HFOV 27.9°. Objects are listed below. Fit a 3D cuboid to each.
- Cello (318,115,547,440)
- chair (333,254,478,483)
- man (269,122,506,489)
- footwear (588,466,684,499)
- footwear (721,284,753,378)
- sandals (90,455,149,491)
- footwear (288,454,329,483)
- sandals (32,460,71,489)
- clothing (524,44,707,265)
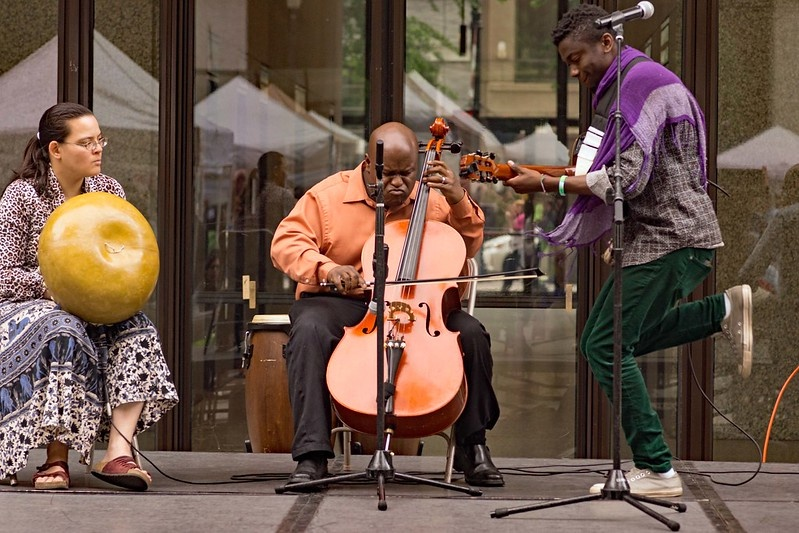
[{"bbox_3d":[0.049,0.122,8.543,1.022,1.624,0.528,7,-32,2],"label":"Cello"},{"bbox_3d":[0.006,0.440,8.145,0.615,1.196,0.492,4,-17,-1],"label":"chair"},{"bbox_3d":[-0.093,0.126,8.575,1.219,1.952,0.694,-1,-30,3],"label":"man"},{"bbox_3d":[1.180,1.096,8.208,0.520,0.170,0.169,3,-7,-2],"label":"footwear"},{"bbox_3d":[1.772,0.341,8.431,0.207,0.449,0.164,-9,8,3],"label":"footwear"},{"bbox_3d":[-1.403,1.059,8.261,0.307,0.110,0.150,8,-21,36],"label":"sandals"},{"bbox_3d":[-0.465,1.039,8.255,0.195,0.136,0.292,0,-3,-2],"label":"footwear"},{"bbox_3d":[-1.786,1.075,8.307,0.186,0.143,0.155,1,-3,-11],"label":"sandals"},{"bbox_3d":[1.150,-0.625,8.267,0.813,1.029,0.377,0,-3,8],"label":"clothing"}]
